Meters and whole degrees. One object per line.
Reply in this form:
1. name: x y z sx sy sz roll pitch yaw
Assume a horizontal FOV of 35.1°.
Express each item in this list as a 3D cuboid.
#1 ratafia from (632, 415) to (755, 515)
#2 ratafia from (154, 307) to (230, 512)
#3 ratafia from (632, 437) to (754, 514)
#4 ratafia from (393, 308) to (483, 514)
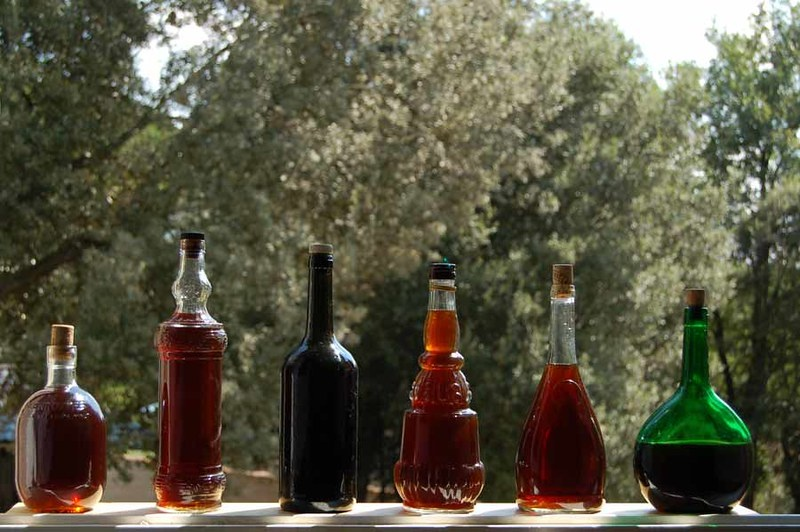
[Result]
1. ratafia: 0.510 0.380 2.288 0.242 0.140 0.247 4 -3 -23
2. ratafia: -0.364 0.254 2.184 0.122 0.334 0.094 2 -12 -9
3. ratafia: 0.514 0.363 2.178 0.139 0.081 0.142 5 -15 -18
4. ratafia: 0.069 0.254 2.196 0.154 0.338 0.104 0 -12 1
